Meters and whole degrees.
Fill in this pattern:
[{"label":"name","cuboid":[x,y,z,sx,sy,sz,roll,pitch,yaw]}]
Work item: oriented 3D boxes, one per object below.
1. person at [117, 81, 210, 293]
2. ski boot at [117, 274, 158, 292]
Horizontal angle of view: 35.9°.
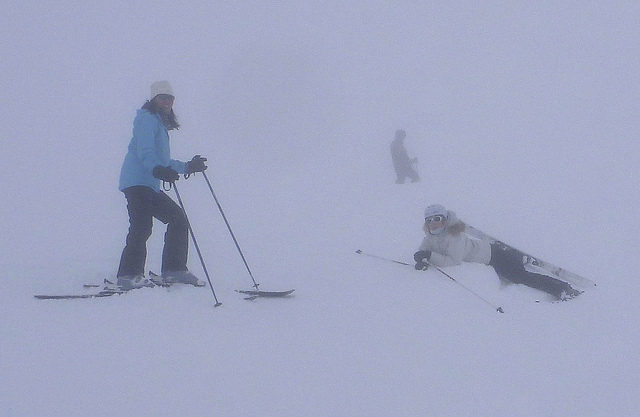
[{"label":"person","cuboid":[-2.461,-0.325,15.126,1.180,3.215,0.849,3,-15,-14]},{"label":"ski boot","cuboid":[-2.751,1.121,14.889,0.577,0.257,0.146,7,-17,-27]}]
